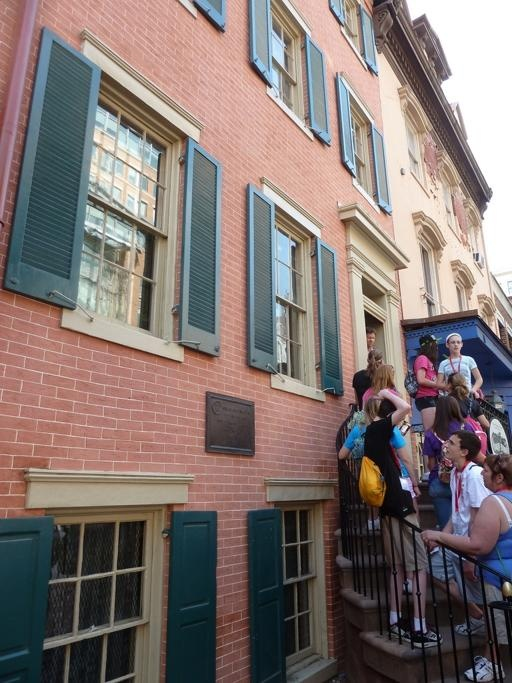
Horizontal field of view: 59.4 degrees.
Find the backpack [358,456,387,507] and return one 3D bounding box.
[{"bbox_3d":[0.881,1.066,3.394,0.197,0.381,0.237,-3,-13,13],"label":"backpack"}]

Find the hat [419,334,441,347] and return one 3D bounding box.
[{"bbox_3d":[2.644,-0.029,6.771,0.249,0.144,0.167,-14,4,-30],"label":"hat"}]
